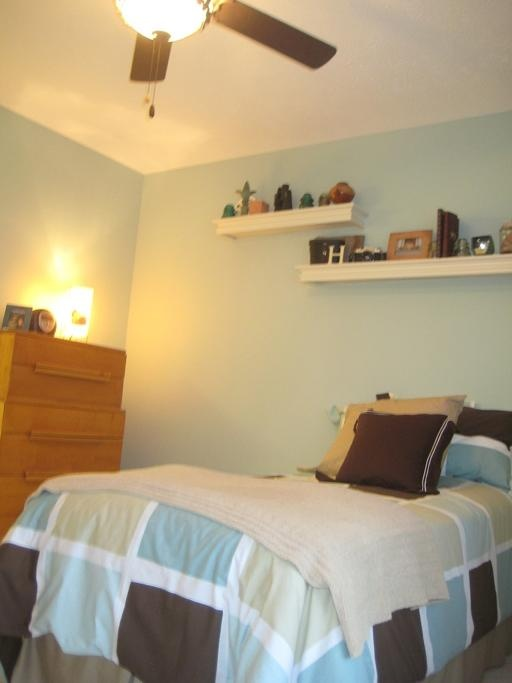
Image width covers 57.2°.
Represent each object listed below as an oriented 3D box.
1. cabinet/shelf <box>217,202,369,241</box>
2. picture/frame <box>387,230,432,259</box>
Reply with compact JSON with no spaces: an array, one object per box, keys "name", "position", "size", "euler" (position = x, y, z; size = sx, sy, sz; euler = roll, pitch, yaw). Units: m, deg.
[{"name":"cabinet/shelf","position":[0.206,-0.814,3.175],"size":[1.065,0.197,0.220],"euler":[3,0,32]},{"name":"picture/frame","position":[0.894,-0.558,2.717],"size":[0.170,0.207,0.021],"euler":[-10,-34,16]}]
